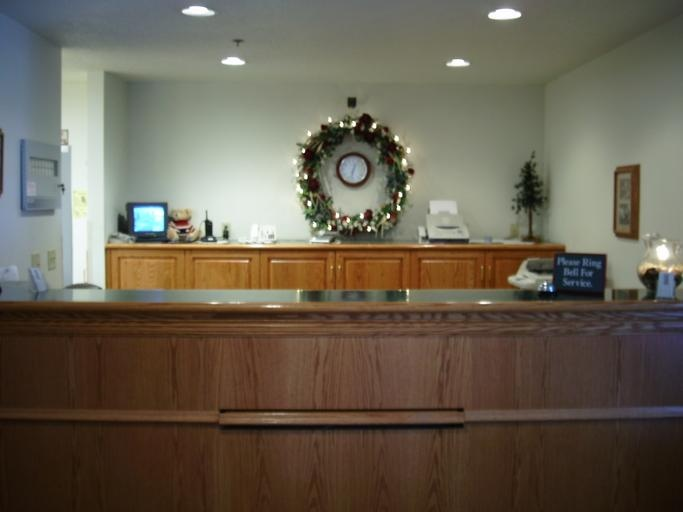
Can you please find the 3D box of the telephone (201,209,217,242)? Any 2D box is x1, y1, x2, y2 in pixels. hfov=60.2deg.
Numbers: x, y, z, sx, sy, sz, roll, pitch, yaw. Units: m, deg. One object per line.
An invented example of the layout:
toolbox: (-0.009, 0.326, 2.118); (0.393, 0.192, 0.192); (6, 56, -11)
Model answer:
telephone: (-1.466, -0.336, 6.580); (0.142, 0.309, 0.437); (-3, 11, -12)

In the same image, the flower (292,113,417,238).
flower: (0.035, -0.911, 7.084); (1.212, 1.414, 0.405); (-4, 4, 0)

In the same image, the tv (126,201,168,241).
tv: (-2.125, -0.359, 6.444); (0.391, 0.449, 0.421); (0, 0, -23)
